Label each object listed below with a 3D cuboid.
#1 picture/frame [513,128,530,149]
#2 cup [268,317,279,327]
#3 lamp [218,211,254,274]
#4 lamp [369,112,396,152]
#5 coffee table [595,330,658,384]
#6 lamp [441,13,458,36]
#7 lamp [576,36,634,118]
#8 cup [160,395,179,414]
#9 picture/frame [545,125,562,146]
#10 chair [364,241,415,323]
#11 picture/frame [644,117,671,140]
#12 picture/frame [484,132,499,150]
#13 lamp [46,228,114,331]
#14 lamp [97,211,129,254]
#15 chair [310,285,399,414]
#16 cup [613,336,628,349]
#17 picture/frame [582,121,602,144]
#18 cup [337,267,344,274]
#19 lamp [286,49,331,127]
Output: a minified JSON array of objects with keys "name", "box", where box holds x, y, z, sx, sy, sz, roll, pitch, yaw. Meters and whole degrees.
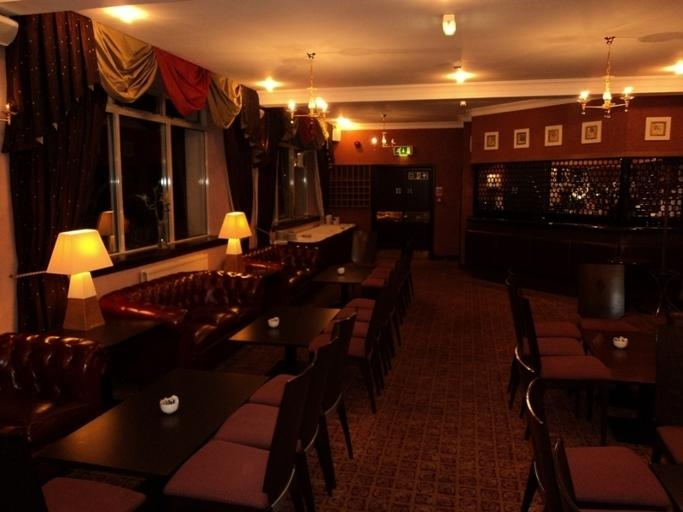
[{"name":"picture/frame","box":[3.209,-2.098,9.158,0.368,0.421,0.030,2,2,45]},{"name":"cup","box":[-0.664,0.634,4.937,0.085,0.079,0.079,3,6,0]},{"name":"lamp","box":[-1.433,-0.204,6.860,0.390,0.753,0.742,-3,11,-14]},{"name":"lamp","box":[0.971,-2.913,12.032,0.533,0.757,0.577,-1,13,-6]},{"name":"coffee table","box":[2.377,0.857,4.248,0.296,0.128,0.497,1,9,17]},{"name":"lamp","box":[0.985,-2.104,4.669,0.140,0.223,0.150,-2,21,3]},{"name":"lamp","box":[3.265,-2.208,6.273,0.634,0.935,0.653,1,12,15]},{"name":"cup","box":[-1.156,0.972,3.424,0.105,0.085,0.105,5,10,-1]},{"name":"picture/frame","box":[3.582,-2.034,8.673,0.367,0.424,0.029,0,1,45]},{"name":"chair","box":[0.645,0.366,7.098,0.381,0.794,1.108,4,12,14]},{"name":"picture/frame","box":[4.745,-1.925,7.699,0.316,0.353,0.025,1,13,9]},{"name":"picture/frame","box":[2.792,-2.162,9.716,0.290,0.311,0.296,1,31,8]},{"name":"lamp","box":[-2.328,0.218,4.521,0.428,0.881,0.378,1,11,7]},{"name":"lamp","box":[-2.631,-0.223,5.718,0.249,0.431,0.262,-17,-3,-2]},{"name":"chair","box":[0.157,0.892,4.734,0.372,0.700,1.021,3,6,13]},{"name":"cup","box":[2.442,0.756,4.501,0.095,0.078,0.101,0,0,0]},{"name":"picture/frame","box":[3.975,-1.965,8.148,0.374,0.434,0.028,1,2,45]},{"name":"cup","box":[-0.027,0.211,7.328,0.076,0.049,0.080,1,8,0]},{"name":"lamp","box":[-0.424,-2.177,6.723,0.531,0.830,0.572,5,20,1]}]
